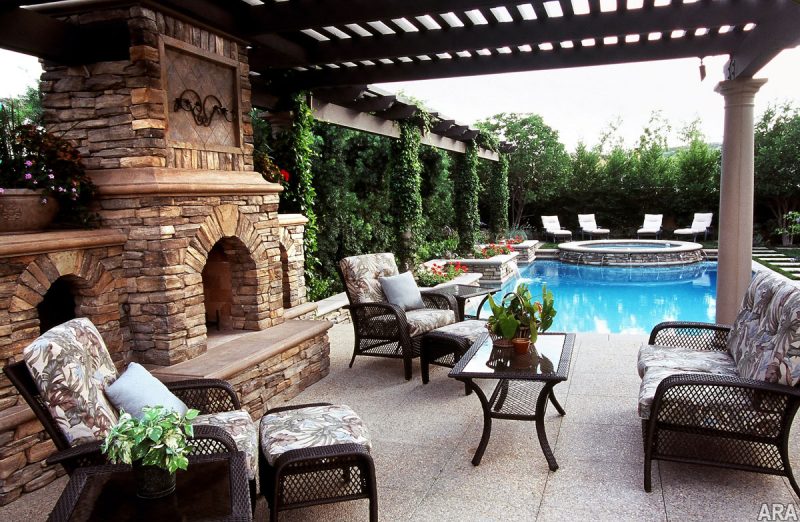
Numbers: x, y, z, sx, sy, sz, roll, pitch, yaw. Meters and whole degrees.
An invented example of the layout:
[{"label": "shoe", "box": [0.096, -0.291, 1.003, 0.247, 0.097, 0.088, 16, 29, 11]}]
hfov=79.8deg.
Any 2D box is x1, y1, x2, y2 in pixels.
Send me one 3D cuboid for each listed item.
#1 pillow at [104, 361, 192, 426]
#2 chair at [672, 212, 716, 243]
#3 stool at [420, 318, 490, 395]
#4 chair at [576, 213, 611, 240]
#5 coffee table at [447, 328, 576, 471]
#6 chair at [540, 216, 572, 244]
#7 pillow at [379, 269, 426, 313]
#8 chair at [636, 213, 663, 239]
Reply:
[{"label": "pillow", "box": [-1.736, 0.921, 3.291, 0.433, 0.342, 0.271, 1, 24, 4]}, {"label": "chair", "box": [10.550, -1.031, 16.877, 1.417, 1.018, 1.017, -7, 8, -29]}, {"label": "stool", "box": [0.594, 0.903, 5.335, 0.664, 0.503, 0.962, 6, 13, 35]}, {"label": "chair", "box": [7.300, -1.148, 18.378, 0.911, 0.835, 1.255, -3, 9, -13]}, {"label": "coffee table", "box": [1.045, 1.172, 4.284, 0.875, 0.758, 1.294, 3, 10, 23]}, {"label": "chair", "box": [6.087, -1.031, 18.466, 0.952, 0.858, 1.289, -4, 10, -15]}, {"label": "pillow", "box": [0.022, 0.440, 6.151, 0.504, 0.381, 0.224, -3, -8, -41]}, {"label": "chair", "box": [9.290, -1.111, 17.601, 0.898, 1.118, 1.099, 3, 7, 30]}]
